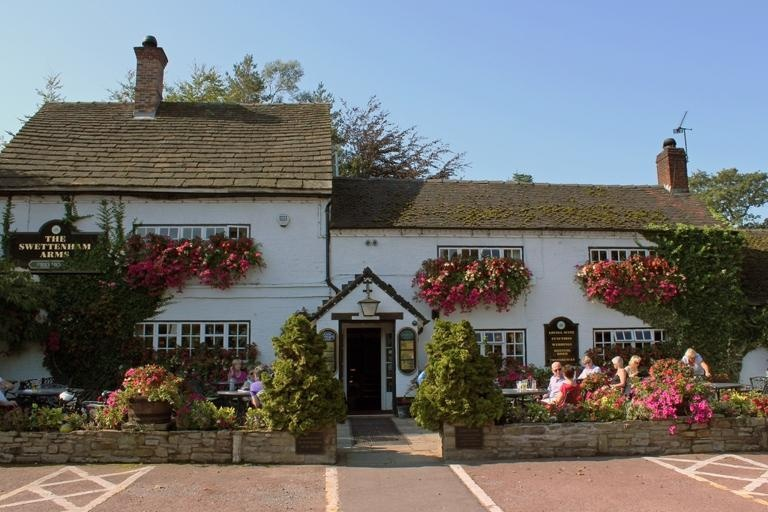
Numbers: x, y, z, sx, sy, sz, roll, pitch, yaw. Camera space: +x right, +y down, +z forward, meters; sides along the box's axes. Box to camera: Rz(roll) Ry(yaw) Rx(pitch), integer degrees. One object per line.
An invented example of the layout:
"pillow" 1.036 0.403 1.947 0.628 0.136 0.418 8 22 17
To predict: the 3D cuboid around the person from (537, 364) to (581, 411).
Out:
"person" 4.893 3.567 22.229 0.946 1.097 0.885 -4 2 28
